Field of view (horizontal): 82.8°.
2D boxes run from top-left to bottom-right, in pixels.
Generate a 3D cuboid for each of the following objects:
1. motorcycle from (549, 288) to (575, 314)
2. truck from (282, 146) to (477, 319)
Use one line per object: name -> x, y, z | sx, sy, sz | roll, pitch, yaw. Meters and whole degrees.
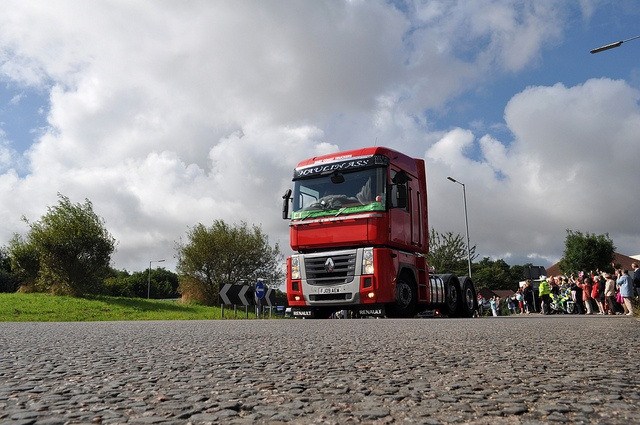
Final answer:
motorcycle -> 14.929, 5.507, 22.332 | 0.620, 1.304, 2.299 | -3, -15, 14
truck -> 2.051, 0.675, 11.620 | 5.605, 5.193, 2.699 | 9, -16, -30
